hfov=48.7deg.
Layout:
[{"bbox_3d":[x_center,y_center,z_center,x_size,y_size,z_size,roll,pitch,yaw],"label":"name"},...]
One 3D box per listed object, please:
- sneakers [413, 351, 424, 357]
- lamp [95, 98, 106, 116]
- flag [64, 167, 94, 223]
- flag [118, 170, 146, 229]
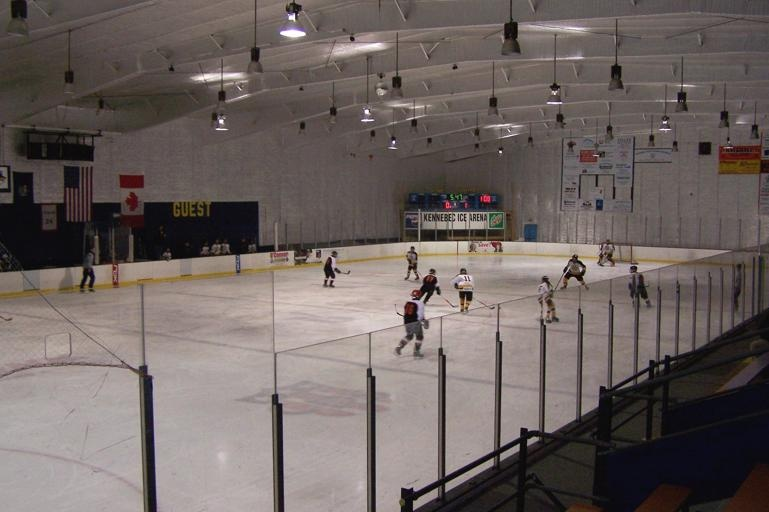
[{"bbox_3d":[0.551,1.665,14.304,0.194,0.126,0.064,-5,10,-13],"label":"sneakers"},{"bbox_3d":[-10.954,-5.788,32.740,0.378,0.687,1.161,-2,10,-18],"label":"lamp"},{"bbox_3d":[-11.814,-2.384,32.606,0.521,2.166,1.218,10,14,43],"label":"flag"},{"bbox_3d":[-10.209,-2.246,34.241,0.905,2.051,0.720,-2,10,-18],"label":"flag"}]
